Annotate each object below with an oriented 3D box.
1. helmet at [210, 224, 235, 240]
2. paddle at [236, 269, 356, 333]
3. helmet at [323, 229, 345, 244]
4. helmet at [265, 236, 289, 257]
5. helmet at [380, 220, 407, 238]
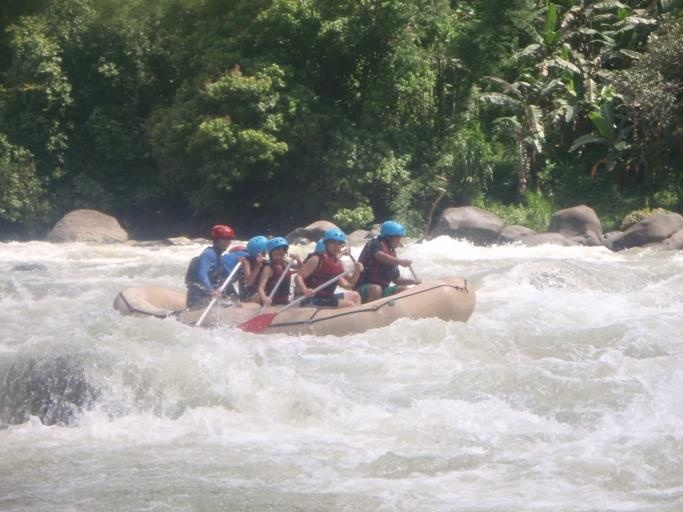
[{"bbox_3d":[-2.921,-0.562,29.509,0.565,0.321,0.407,4,7,-1],"label":"helmet"},{"bbox_3d":[-1.138,1.111,29.126,2.770,0.475,0.196,-24,-38,-6],"label":"paddle"},{"bbox_3d":[-0.192,-0.497,29.447,0.525,0.388,0.564,2,-3,-2],"label":"helmet"},{"bbox_3d":[-1.570,-0.246,29.561,0.501,0.357,0.367,-7,-1,26],"label":"helmet"},{"bbox_3d":[1.222,-0.643,29.965,0.543,0.260,0.378,-1,9,6],"label":"helmet"}]
